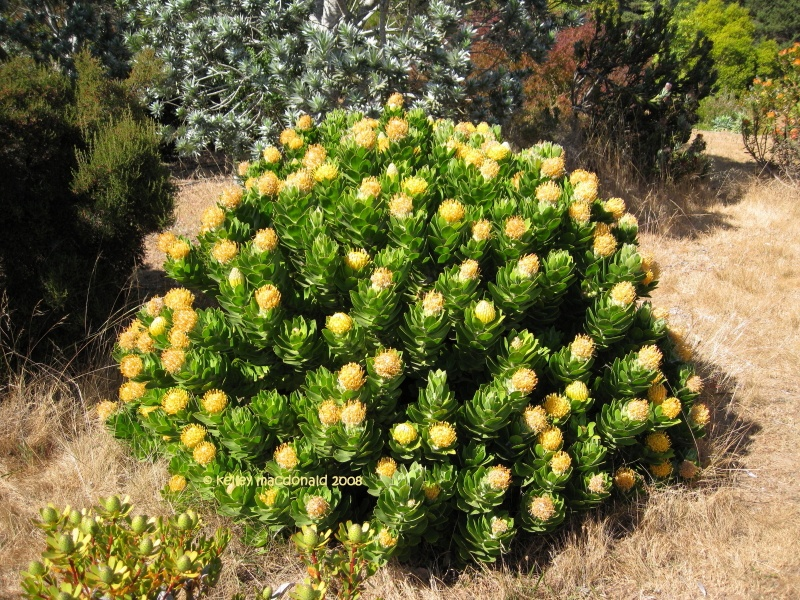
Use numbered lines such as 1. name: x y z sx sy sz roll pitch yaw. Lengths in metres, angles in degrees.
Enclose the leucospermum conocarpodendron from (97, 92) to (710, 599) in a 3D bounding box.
1. leucospermum conocarpodendron: 0.077 0.238 4.828 3.792 2.028 2.509 -5 43 -11
